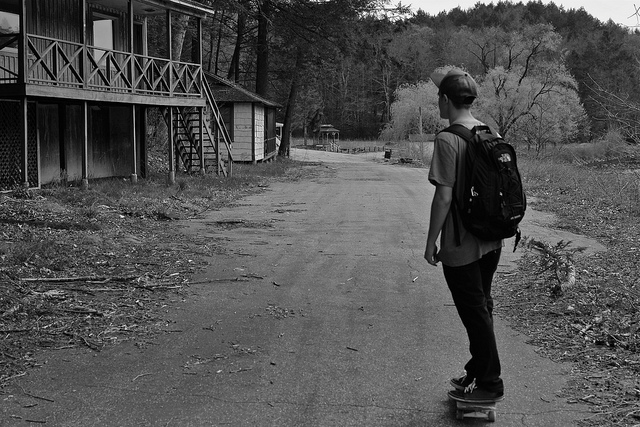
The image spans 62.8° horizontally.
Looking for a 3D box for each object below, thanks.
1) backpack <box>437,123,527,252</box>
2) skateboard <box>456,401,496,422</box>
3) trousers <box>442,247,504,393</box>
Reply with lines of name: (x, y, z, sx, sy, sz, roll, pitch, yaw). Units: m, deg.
backpack: (1.419, -0.242, 4.551, 0.713, 1.063, 0.378, 5, 10, 16)
skateboard: (1.330, 1.666, 4.483, 0.219, 0.060, 0.222, 1, 1, 3)
trousers: (1.349, 0.906, 4.575, 0.578, 1.173, 0.415, 2, 9, 2)
